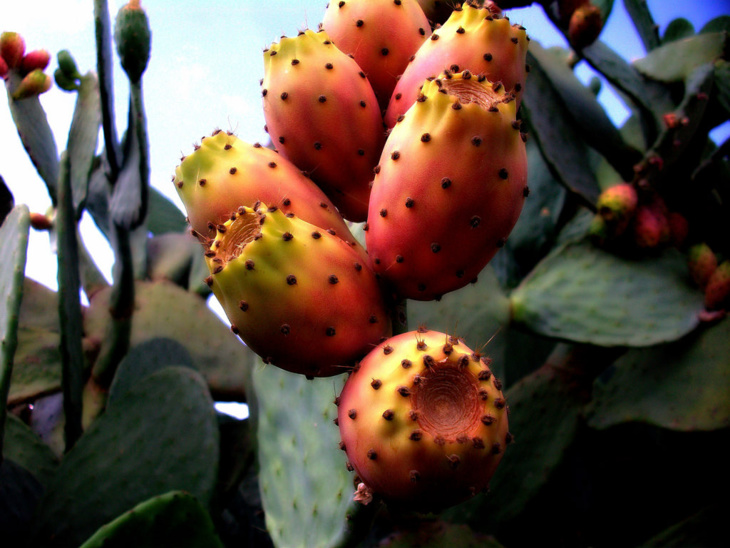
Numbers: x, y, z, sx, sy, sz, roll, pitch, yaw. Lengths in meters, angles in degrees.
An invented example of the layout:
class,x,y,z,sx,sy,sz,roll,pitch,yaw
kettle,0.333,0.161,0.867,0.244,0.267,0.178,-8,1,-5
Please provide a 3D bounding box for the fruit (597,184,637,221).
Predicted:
class,x,y,z,sx,sy,sz,roll,pitch,yaw
fruit,0.386,-0.111,1.252,0.054,0.051,0.046,-7,-12,3

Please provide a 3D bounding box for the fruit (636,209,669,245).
class,x,y,z,sx,sy,sz,roll,pitch,yaw
fruit,0.444,-0.072,1.263,0.040,0.062,0.031,-8,4,-6

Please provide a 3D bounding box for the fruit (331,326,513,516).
class,x,y,z,sx,sy,sz,roll,pitch,yaw
fruit,0.051,0.173,0.984,0.176,0.196,0.208,-28,-12,-16

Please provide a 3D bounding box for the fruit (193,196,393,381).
class,x,y,z,sx,sy,sz,roll,pitch,yaw
fruit,-0.099,-0.016,1.070,0.192,0.266,0.195,-49,18,-1

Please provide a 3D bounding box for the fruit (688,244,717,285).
class,x,y,z,sx,sy,sz,roll,pitch,yaw
fruit,0.507,-0.016,1.232,0.036,0.064,0.019,-4,0,25
